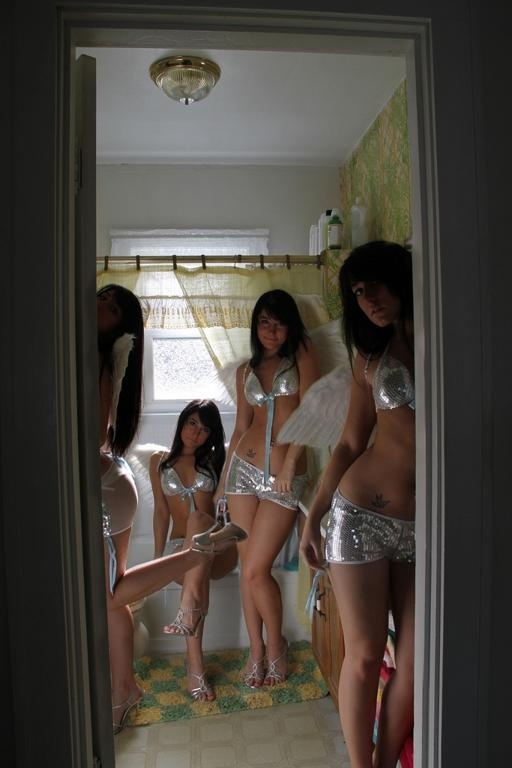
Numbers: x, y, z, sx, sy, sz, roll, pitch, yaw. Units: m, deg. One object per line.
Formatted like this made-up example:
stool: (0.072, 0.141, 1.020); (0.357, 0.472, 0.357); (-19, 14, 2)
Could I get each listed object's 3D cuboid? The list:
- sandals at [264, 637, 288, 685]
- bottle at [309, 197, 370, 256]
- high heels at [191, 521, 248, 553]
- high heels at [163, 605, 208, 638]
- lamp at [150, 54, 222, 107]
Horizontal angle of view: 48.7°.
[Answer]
sandals: (0.069, 0.981, 2.014); (0.050, 0.065, 0.153); (-5, 14, 11)
bottle: (0.359, -0.642, 2.397); (0.270, 0.340, 0.169); (1, 2, 18)
high heels: (-0.134, 0.545, 1.999); (0.197, 0.089, 0.075); (-17, 3, -27)
high heels: (-0.252, 0.826, 1.986); (0.072, 0.075, 0.161); (-4, -11, 24)
lamp: (-0.222, -0.963, 1.773); (0.205, 0.079, 0.159); (-2, 3, -7)
